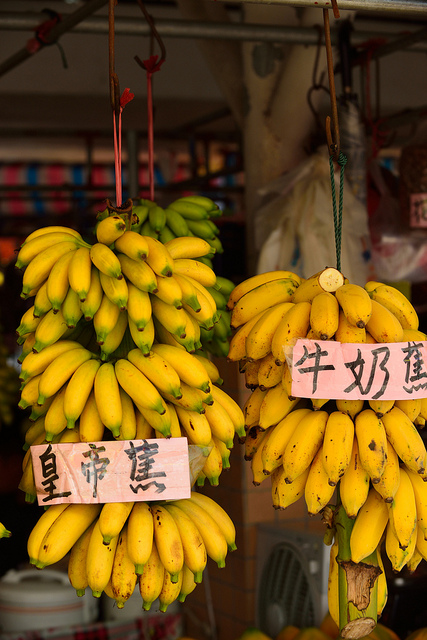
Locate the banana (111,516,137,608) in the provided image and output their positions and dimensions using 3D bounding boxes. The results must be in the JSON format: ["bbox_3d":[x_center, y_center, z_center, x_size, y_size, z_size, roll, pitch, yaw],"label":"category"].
[{"bbox_3d":[-0.143,0.385,0.957,0.037,0.129,0.042,20,-17,-39],"label":"banana"}]

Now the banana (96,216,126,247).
[{"bbox_3d":[-0.167,-0.147,0.974,0.033,0.041,0.068,40,-23,-16],"label":"banana"}]

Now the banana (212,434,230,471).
[{"bbox_3d":[0.015,0.238,1.100,0.021,0.073,0.026,-28,-8,-9],"label":"banana"}]

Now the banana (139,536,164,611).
[{"bbox_3d":[-0.093,0.415,0.986,0.035,0.126,0.040,7,7,-1],"label":"banana"}]

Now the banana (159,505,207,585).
[{"bbox_3d":[-0.041,0.360,1.016,0.042,0.152,0.051,-16,-11,-28],"label":"banana"}]

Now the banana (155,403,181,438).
[{"bbox_3d":[-0.081,0.172,1.014,0.025,0.026,0.083,-3,-44,-7],"label":"banana"}]

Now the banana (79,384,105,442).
[{"bbox_3d":[-0.200,0.148,1.003,0.031,0.108,0.036,5,-6,-14],"label":"banana"}]

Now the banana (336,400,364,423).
[{"bbox_3d":[0.242,0.156,1.060,0.033,0.043,0.035,-5,4,34],"label":"banana"}]

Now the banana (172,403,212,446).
[{"bbox_3d":[-0.032,0.178,1.020,0.030,0.098,0.032,-37,-22,-28],"label":"banana"}]

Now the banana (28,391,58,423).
[{"bbox_3d":[-0.286,0.144,1.012,0.075,0.021,0.027,-52,-4,32],"label":"banana"}]

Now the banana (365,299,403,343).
[{"bbox_3d":[0.298,0.002,1.076,0.041,0.033,0.086,7,29,-32],"label":"banana"}]

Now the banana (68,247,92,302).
[{"bbox_3d":[-0.216,-0.076,0.972,0.039,0.092,0.103,-4,2,-11],"label":"banana"}]

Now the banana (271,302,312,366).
[{"bbox_3d":[0.156,0.017,1.097,0.045,0.042,0.142,-13,29,43],"label":"banana"}]

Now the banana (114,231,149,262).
[{"bbox_3d":[-0.129,-0.120,0.959,0.025,0.035,0.066,-27,30,-24],"label":"banana"}]

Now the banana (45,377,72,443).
[{"bbox_3d":[-0.251,0.145,0.972,0.031,0.111,0.036,26,3,-15],"label":"banana"}]

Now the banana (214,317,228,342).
[{"bbox_3d":[0.018,0.021,1.338,0.017,0.061,0.020,-20,16,-5],"label":"banana"}]

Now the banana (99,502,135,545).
[{"bbox_3d":[-0.149,0.309,0.944,0.028,0.026,0.084,23,31,6],"label":"banana"}]

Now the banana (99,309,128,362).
[{"bbox_3d":[-0.171,0.024,1.018,0.024,0.088,0.030,31,-14,-20],"label":"banana"}]

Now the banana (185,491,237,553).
[{"bbox_3d":[0.014,0.386,1.117,0.035,0.127,0.068,-36,5,31],"label":"banana"}]

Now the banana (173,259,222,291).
[{"bbox_3d":[-0.021,-0.071,1.109,0.113,0.035,0.031,26,-27,-28],"label":"banana"}]

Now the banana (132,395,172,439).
[{"bbox_3d":[-0.100,0.155,0.967,0.030,0.084,0.025,-23,-22,-53],"label":"banana"}]

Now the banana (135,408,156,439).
[{"bbox_3d":[-0.117,0.179,1.017,0.019,0.067,0.023,-6,4,-5],"label":"banana"}]

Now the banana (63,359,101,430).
[{"bbox_3d":[-0.203,0.115,0.980,0.035,0.123,0.041,2,-38,29],"label":"banana"}]

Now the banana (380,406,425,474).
[{"bbox_3d":[0.311,0.196,1.052,0.045,0.132,0.044,-8,-35,-20],"label":"banana"}]

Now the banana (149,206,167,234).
[{"bbox_3d":[-0.125,-0.223,1.340,0.036,0.070,0.021,-13,-43,9],"label":"banana"}]

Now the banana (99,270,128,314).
[{"bbox_3d":[-0.160,-0.050,0.978,0.026,0.079,0.026,-34,-26,17],"label":"banana"}]

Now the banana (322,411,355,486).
[{"bbox_3d":[0.211,0.215,1.019,0.050,0.144,0.044,15,-41,6],"label":"banana"}]

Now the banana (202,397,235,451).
[{"bbox_3d":[0.018,0.180,1.077,0.035,0.112,0.037,-28,8,8],"label":"banana"}]

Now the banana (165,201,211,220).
[{"bbox_3d":[-0.055,-0.253,1.375,0.121,0.033,0.036,13,8,16],"label":"banana"}]

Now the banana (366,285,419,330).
[{"bbox_3d":[0.336,-0.017,1.144,0.062,0.106,0.029,-48,9,-31],"label":"banana"}]

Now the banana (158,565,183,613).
[{"bbox_3d":[-0.071,0.450,1.007,0.029,0.101,0.035,9,-2,10],"label":"banana"}]

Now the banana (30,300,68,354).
[{"bbox_3d":[-0.271,0.015,0.996,0.031,0.036,0.107,-32,17,51],"label":"banana"}]

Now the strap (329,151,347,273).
[{"bbox_3d":[0.246,-0.232,1.193,0.038,0.215,0.026,-28,48,-17],"label":"strap"}]

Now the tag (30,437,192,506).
[{"bbox_3d":[-0.164,0.242,0.966,0.296,0.111,0.014,-1,-4,1],"label":"tag"}]

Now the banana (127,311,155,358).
[{"bbox_3d":[-0.114,0.028,0.962,0.025,0.087,0.030,-18,-5,29],"label":"banana"}]

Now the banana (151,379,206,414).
[{"bbox_3d":[-0.049,0.137,1.040,0.112,0.032,0.036,29,38,-8],"label":"banana"}]

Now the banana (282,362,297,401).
[{"bbox_3d":[0.124,0.106,1.048,0.023,0.067,0.018,-1,-20,-29],"label":"banana"}]

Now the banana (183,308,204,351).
[{"bbox_3d":[-0.034,0.017,1.073,0.019,0.072,0.025,-13,-16,-40],"label":"banana"}]

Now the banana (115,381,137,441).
[{"bbox_3d":[-0.143,0.149,0.985,0.027,0.091,0.031,-5,-5,-26],"label":"banana"}]

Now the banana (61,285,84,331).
[{"bbox_3d":[-0.239,-0.023,1.009,0.024,0.077,0.026,-31,-30,22],"label":"banana"}]
